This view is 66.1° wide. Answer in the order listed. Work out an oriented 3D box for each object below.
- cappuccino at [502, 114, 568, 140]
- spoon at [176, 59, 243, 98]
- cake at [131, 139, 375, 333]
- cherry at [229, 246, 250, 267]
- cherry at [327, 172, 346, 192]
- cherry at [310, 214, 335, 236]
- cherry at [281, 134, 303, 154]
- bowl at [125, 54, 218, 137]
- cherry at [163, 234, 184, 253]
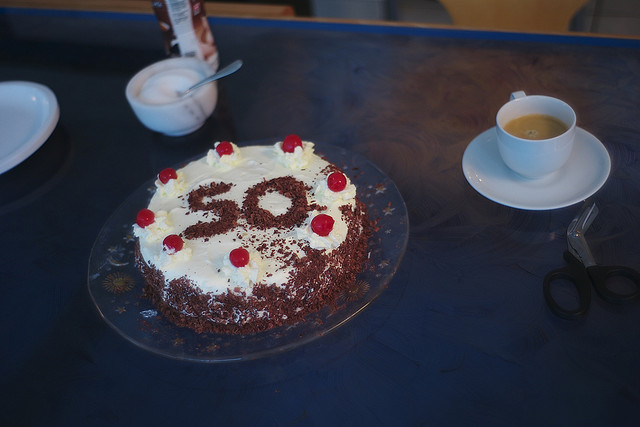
[{"bbox_3d":[1.014,-0.399,2.293,0.146,0.060,0.139,-12,35,-23],"label":"cappuccino"},{"bbox_3d":[-0.611,-0.753,2.730,0.380,0.143,0.155,-31,69,-18],"label":"spoon"},{"bbox_3d":[-0.306,0.058,2.288,1.130,0.306,0.928,-6,63,-7],"label":"cake"},{"bbox_3d":[-0.341,0.184,2.089,0.076,0.077,0.073,5,44,-5],"label":"cherry"},{"bbox_3d":[0.076,-0.147,2.267,0.079,0.061,0.080,-8,25,-21],"label":"cherry"},{"bbox_3d":[0.008,0.051,2.185,0.093,0.076,0.083,25,64,9],"label":"cherry"},{"bbox_3d":[-0.141,-0.347,2.467,0.087,0.088,0.105,-4,83,24],"label":"cherry"},{"bbox_3d":[-0.835,-0.665,2.889,0.505,0.297,0.512,-3,48,4],"label":"bowl"},{"bbox_3d":[-0.640,0.126,2.152,0.073,0.072,0.073,-30,92,-12],"label":"cherry"}]
